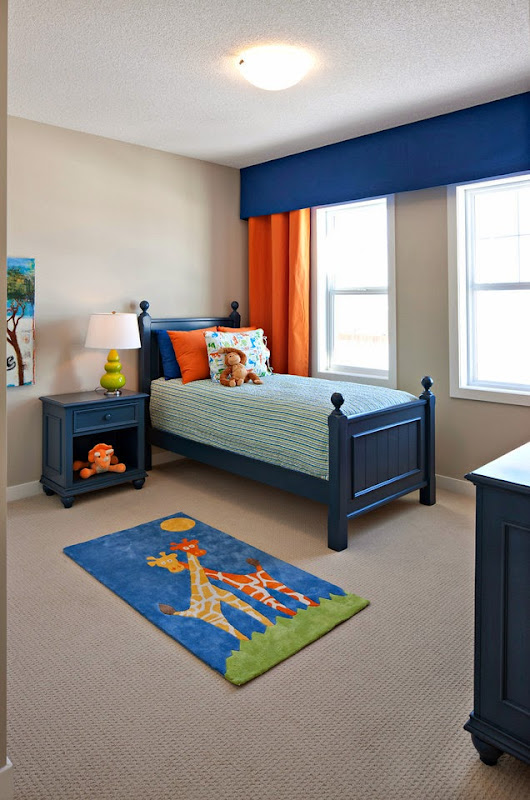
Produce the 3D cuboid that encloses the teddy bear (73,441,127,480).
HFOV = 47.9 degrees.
[{"bbox_3d":[-1.005,0.308,3.633,0.190,0.205,0.310,1,1,39],"label":"teddy bear"}]

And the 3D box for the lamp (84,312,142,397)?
[{"bbox_3d":[-0.956,-0.284,3.715,0.302,0.502,0.526,-3,9,-17],"label":"lamp"}]

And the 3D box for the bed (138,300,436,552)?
[{"bbox_3d":[0.191,0.010,3.852,1.053,1.461,2.044,-4,6,-38],"label":"bed"}]

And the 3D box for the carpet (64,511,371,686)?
[{"bbox_3d":[-0.220,0.748,2.448,0.699,0.025,1.175,-9,13,-42],"label":"carpet"}]

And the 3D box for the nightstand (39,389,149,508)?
[{"bbox_3d":[-1.046,0.271,3.671,0.635,0.616,0.433,-9,12,-43],"label":"nightstand"}]
